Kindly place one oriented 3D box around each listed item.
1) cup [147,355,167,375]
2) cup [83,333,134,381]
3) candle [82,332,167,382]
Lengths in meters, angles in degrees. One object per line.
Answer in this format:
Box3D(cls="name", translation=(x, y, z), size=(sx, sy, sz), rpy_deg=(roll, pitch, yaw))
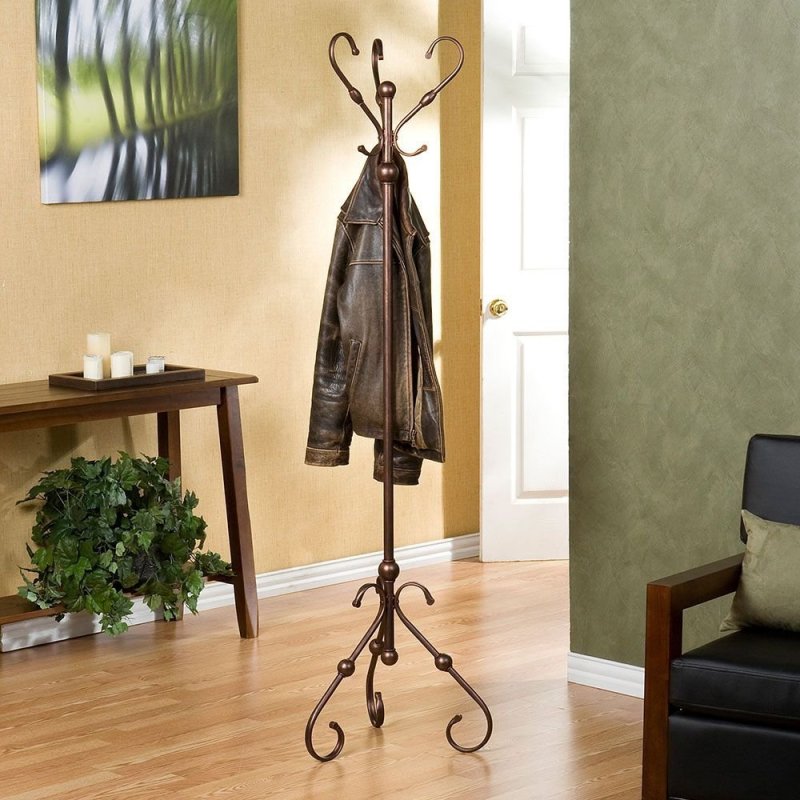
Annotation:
Box3D(cls="cup", translation=(-0.843, -0.126, 2.967), size=(0.064, 0.074, 0.064), rpy_deg=(3, 6, 0))
Box3D(cls="cup", translation=(-0.950, -0.158, 2.831), size=(0.183, 0.181, 0.129), rpy_deg=(0, 4, -14))
Box3D(cls="candle", translation=(-0.911, -0.143, 2.813), size=(0.282, 0.201, 0.145), rpy_deg=(-1, 5, -22))
